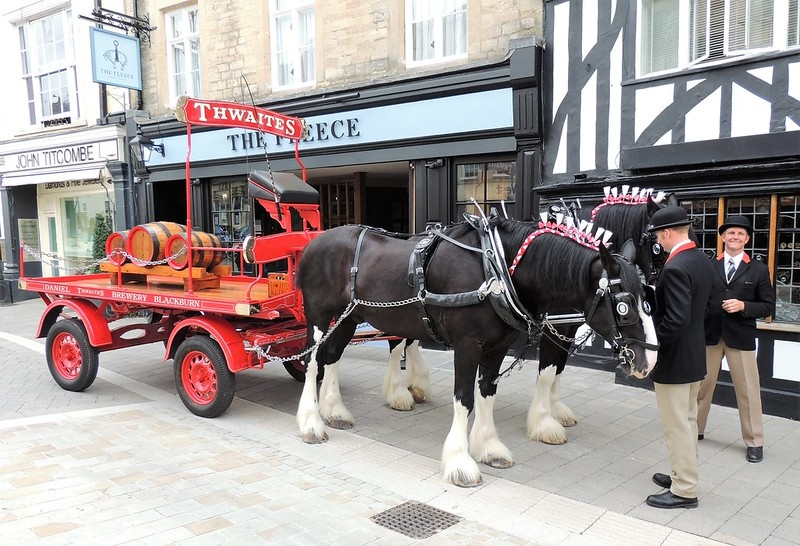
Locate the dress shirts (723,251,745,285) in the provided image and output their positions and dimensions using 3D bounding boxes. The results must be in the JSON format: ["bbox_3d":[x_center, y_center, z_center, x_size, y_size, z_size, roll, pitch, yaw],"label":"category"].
[{"bbox_3d":[4.062,-0.054,7.182,0.087,0.344,0.244,15,-9,-28],"label":"dress shirts"}]

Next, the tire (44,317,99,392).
[{"bbox_3d":[-4.870,1.214,8.787,0.852,0.928,0.281,23,19,29],"label":"tire"}]

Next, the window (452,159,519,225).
[{"bbox_3d":[1.481,-1.414,9.965,1.531,1.508,0.083,4,10,27],"label":"window"}]

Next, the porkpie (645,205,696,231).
[{"bbox_3d":[2.775,-0.535,6.125,0.310,0.111,0.286,-9,8,39],"label":"porkpie"}]

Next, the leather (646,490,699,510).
[{"bbox_3d":[2.785,2.349,6.102,0.503,0.222,0.197,3,-1,9],"label":"leather"}]

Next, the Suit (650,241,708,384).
[{"bbox_3d":[2.880,0.411,6.040,0.635,1.409,0.512,-1,13,-4],"label":"Suit"}]

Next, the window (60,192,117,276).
[{"bbox_3d":[-8.058,-1.093,15.312,2.480,2.740,0.132,2,3,30],"label":"window"}]

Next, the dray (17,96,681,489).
[{"bbox_3d":[-1.298,0.121,10.103,11.509,5.526,3.185,3,5,34],"label":"dray"}]

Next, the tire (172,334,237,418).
[{"bbox_3d":[-2.582,1.350,7.820,1.080,1.168,0.307,5,6,29],"label":"tire"}]

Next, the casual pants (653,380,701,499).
[{"bbox_3d":[2.889,1.708,6.078,0.533,1.218,0.337,-2,13,-7],"label":"casual pants"}]

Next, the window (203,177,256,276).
[{"bbox_3d":[-4.195,-1.492,14.517,1.182,0.100,2.200,-1,-33,-19],"label":"window"}]
